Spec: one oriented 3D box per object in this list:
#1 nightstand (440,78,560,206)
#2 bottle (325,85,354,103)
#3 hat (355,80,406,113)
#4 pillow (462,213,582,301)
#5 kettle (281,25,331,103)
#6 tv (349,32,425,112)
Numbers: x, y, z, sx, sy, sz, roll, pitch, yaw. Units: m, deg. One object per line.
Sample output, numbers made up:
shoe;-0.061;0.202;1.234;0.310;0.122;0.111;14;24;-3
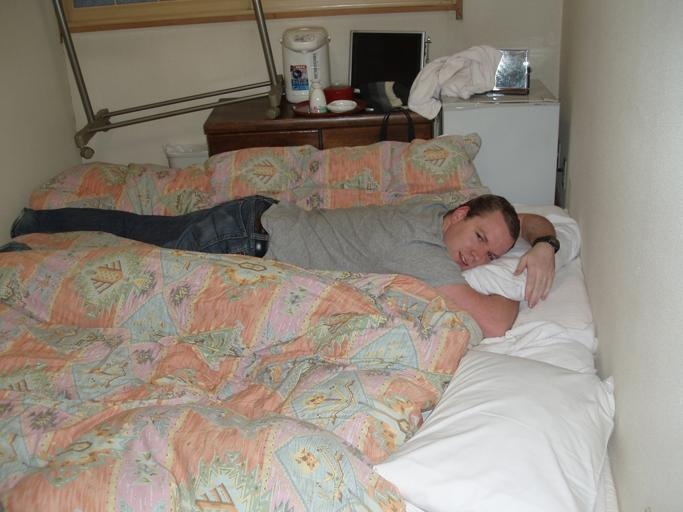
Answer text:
nightstand;0.828;-0.558;2.902;0.527;0.660;0.426;-1;23;8
bottle;-0.014;-0.847;2.894;0.109;0.065;0.110;-1;26;0
hat;0.233;-0.863;2.997;0.225;0.088;0.220;-2;35;-13
pillow;0.607;0.013;1.894;0.248;0.164;0.469;12;26;36
kettle;-0.194;-1.025;2.957;0.253;0.422;0.240;-2;24;-10
tv;0.265;-1.000;3.007;0.533;0.496;0.054;2;-2;10
